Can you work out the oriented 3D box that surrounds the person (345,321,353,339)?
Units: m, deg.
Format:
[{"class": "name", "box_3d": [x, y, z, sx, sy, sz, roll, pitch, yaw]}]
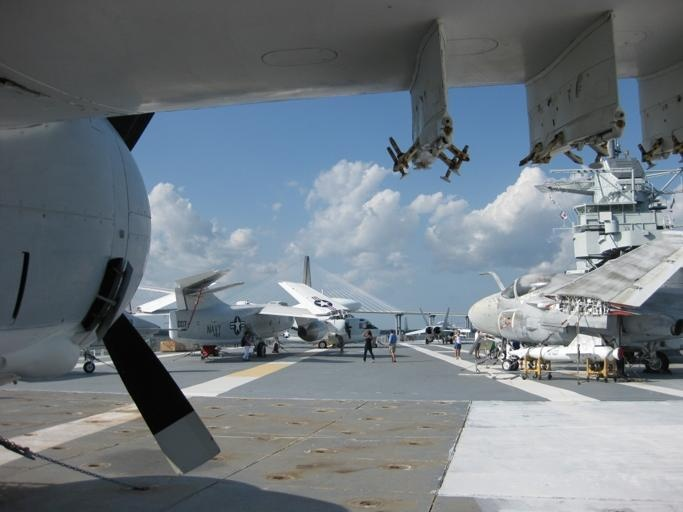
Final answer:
[{"class": "person", "box_3d": [0.378, 5.218, 39.265, 0.445, 1.049, 0.852, 0, -3, 16]}]

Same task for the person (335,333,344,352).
[{"class": "person", "box_3d": [-0.387, 6.159, 39.766, 0.573, 1.360, 0.822, -6, -13, -4]}]
